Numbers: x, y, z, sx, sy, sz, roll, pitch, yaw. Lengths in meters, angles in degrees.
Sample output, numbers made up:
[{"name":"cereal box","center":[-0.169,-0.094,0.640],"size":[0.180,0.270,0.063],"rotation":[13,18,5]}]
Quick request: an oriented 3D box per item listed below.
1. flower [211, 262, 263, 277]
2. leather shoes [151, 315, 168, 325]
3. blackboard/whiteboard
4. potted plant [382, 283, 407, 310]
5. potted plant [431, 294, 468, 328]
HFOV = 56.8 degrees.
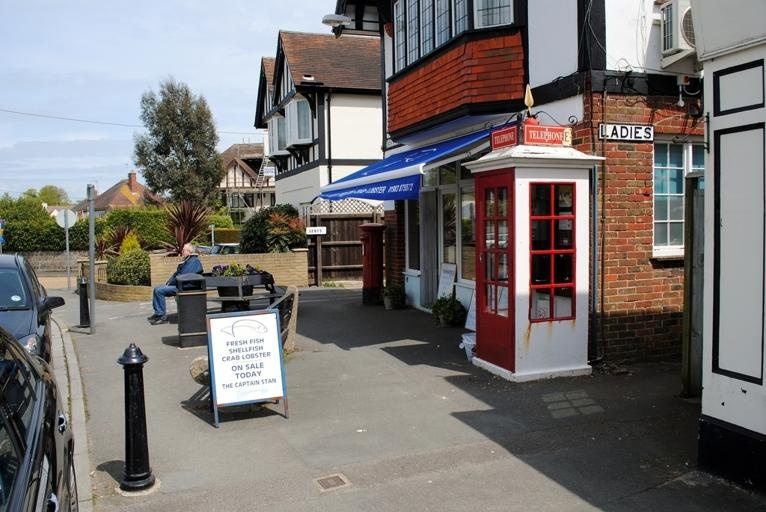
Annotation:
[{"name":"flower","center":[-3.323,0.321,15.720],"size":[0.579,0.307,0.741],"rotation":[0,-2,-23]},{"name":"leather shoes","center":[-5.089,1.455,16.092],"size":[0.157,0.224,0.469],"rotation":[-1,-7,29]},{"name":"blackboard/whiteboard","center":[-1.876,1.415,9.588],"size":[1.151,1.552,0.552],"rotation":[-4,3,-16]},{"name":"potted plant","center":[0.258,0.988,17.237],"size":[0.499,0.544,0.501],"rotation":[-3,4,-21]},{"name":"potted plant","center":[1.368,1.108,14.602],"size":[0.587,0.628,0.588],"rotation":[-2,5,-31]}]
